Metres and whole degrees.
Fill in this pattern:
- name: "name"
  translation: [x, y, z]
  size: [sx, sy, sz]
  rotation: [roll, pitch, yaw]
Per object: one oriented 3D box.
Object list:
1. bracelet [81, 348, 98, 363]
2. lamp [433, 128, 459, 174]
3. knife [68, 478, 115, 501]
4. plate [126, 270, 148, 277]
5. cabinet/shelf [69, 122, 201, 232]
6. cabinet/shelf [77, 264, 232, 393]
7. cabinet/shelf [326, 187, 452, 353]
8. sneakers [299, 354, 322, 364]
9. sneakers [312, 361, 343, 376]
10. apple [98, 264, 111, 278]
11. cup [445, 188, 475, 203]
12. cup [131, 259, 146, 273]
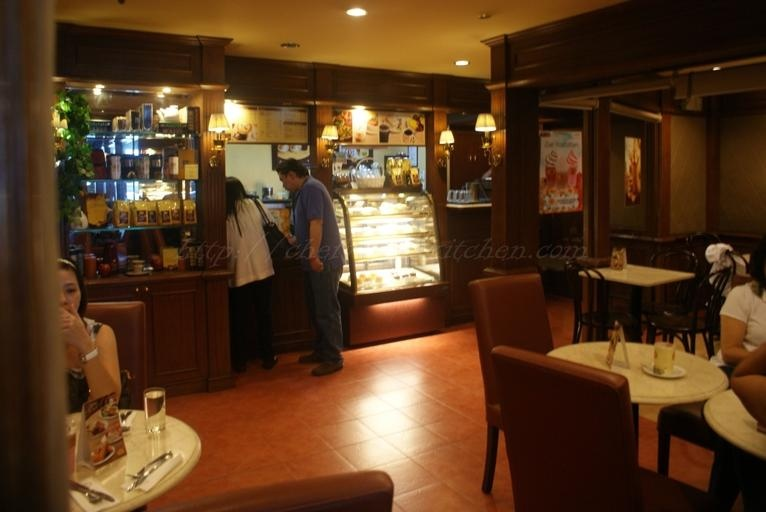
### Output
- name: "bracelet"
  translation: [-1.042, 0.337, 2.039]
  size: [0.049, 0.049, 0.125]
  rotation: [-5, 8, -23]
- name: "lamp"
  translation: [0.639, -1.111, 5.972]
  size: [0.216, 0.370, 0.225]
  rotation: [3, 9, 20]
- name: "knife"
  translation: [-0.786, 0.632, 1.551]
  size: [0.144, 0.035, 0.040]
  rotation: [2, 8, 27]
- name: "plate"
  translation: [-1.815, 0.131, 4.241]
  size: [0.165, 0.027, 0.160]
  rotation: [-4, 8, -17]
- name: "cabinet/shelf"
  translation: [-1.921, -0.632, 4.420]
  size: [0.896, 0.780, 0.316]
  rotation: [-7, 34, -40]
- name: "cabinet/shelf"
  translation: [-1.391, 0.429, 3.513]
  size: [0.917, 0.905, 0.390]
  rotation: [-2, 3, -33]
- name: "cabinet/shelf"
  translation: [0.001, 0.143, 5.410]
  size: [1.319, 1.847, 0.937]
  rotation: [-4, 5, -31]
- name: "sneakers"
  translation: [-0.630, 0.859, 4.882]
  size: [0.191, 0.082, 0.094]
  rotation: [4, 2, -5]
- name: "sneakers"
  translation: [-0.442, 0.890, 4.616]
  size: [0.204, 0.086, 0.093]
  rotation: [0, 2, -26]
- name: "apple"
  translation: [-2.036, 0.102, 4.201]
  size: [0.079, 0.078, 0.080]
  rotation: [13, -21, -22]
- name: "cup"
  translation: [0.857, -0.666, 6.486]
  size: [0.244, 0.097, 0.169]
  rotation: [-3, 5, -20]
- name: "cup"
  translation: [-1.840, 0.079, 4.324]
  size: [0.094, 0.080, 0.099]
  rotation: [0, -5, 0]
